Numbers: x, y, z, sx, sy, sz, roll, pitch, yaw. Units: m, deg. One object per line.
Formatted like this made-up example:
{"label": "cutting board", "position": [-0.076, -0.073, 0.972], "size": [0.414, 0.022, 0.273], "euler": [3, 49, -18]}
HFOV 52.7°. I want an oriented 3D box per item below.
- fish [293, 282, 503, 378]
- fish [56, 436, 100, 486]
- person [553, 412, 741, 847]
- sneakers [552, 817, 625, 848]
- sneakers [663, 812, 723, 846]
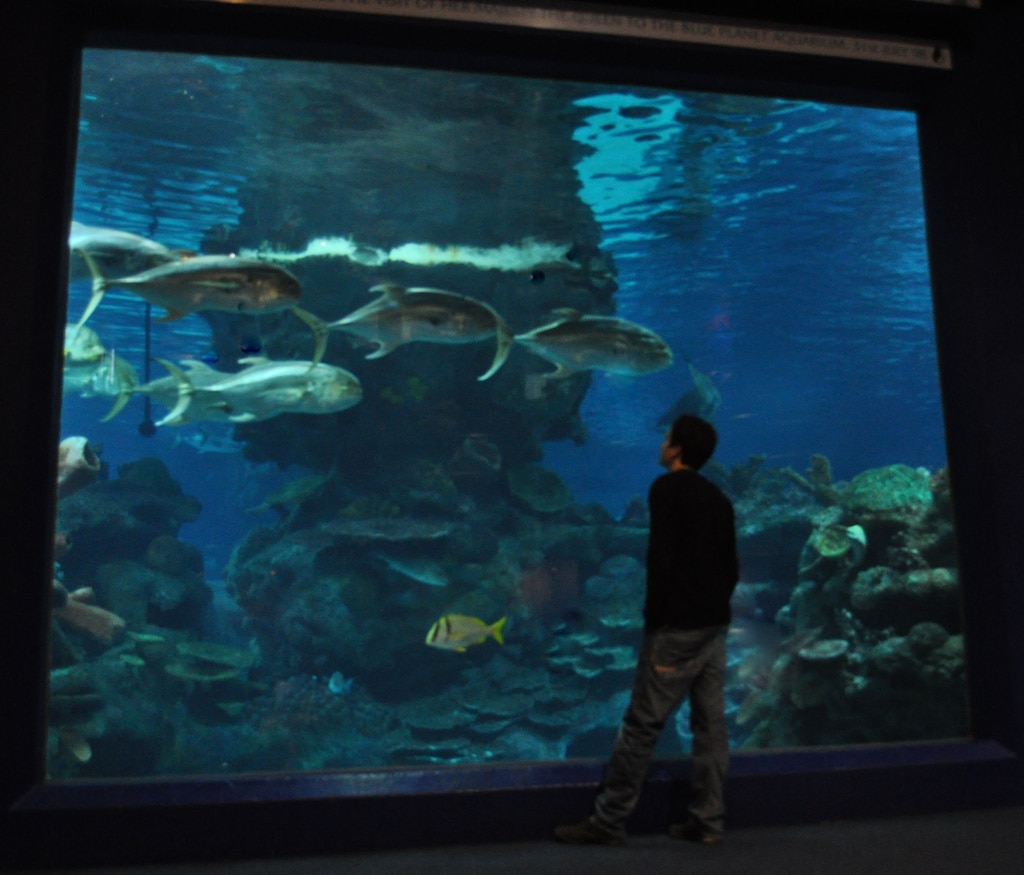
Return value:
{"label": "fish", "position": [-1.130, -1.310, 13.028], "size": [3.082, 1.142, 1.233], "euler": [-2, -8, -2]}
{"label": "fish", "position": [-5.867, 0.319, 13.907], "size": [0.517, 0.239, 0.642], "euler": [14, 27, -27]}
{"label": "person", "position": [1.173, 1.691, 7.909], "size": [1.029, 2.873, 0.405], "euler": [3, 5, -4]}
{"label": "sneakers", "position": [0.592, 3.029, 7.953], "size": [0.601, 0.196, 0.196], "euler": [2, -11, 9]}
{"label": "sneakers", "position": [1.403, 3.025, 7.975], "size": [0.179, 0.164, 0.455], "euler": [1, 0, -38]}
